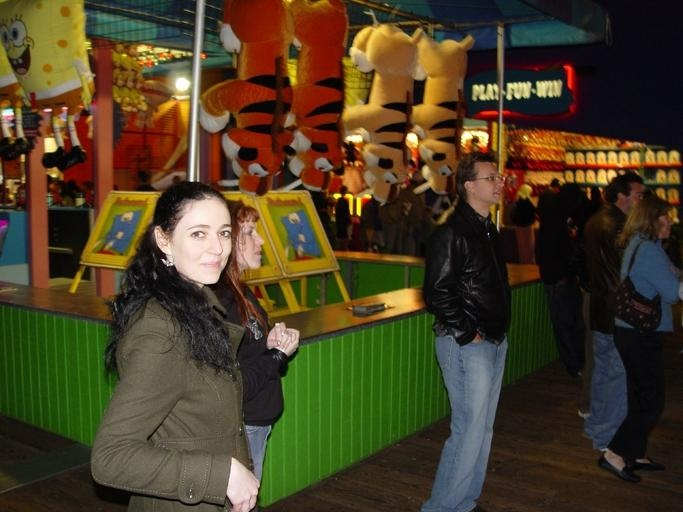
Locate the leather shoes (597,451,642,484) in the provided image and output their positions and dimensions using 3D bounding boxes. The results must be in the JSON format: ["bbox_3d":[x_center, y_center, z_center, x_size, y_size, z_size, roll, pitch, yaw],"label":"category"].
[{"bbox_3d":[1.916,1.466,4.007,0.096,0.110,0.261,6,-1,-37],"label":"leather shoes"}]
